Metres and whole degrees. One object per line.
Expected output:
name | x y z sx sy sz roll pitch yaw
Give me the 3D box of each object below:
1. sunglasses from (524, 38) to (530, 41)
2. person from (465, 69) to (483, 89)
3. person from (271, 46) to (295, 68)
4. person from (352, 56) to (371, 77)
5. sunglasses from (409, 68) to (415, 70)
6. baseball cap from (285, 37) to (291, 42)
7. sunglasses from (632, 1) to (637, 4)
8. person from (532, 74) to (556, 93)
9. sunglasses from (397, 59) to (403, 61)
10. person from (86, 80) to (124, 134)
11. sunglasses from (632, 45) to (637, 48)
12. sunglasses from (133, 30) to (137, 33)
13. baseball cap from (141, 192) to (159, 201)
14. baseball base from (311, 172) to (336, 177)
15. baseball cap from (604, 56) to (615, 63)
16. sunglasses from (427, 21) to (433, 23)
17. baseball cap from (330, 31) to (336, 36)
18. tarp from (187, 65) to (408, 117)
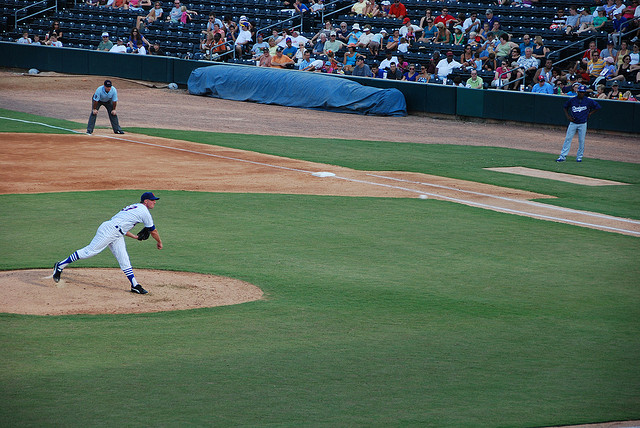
sunglasses | 7.325 -6.253 39.442 0.096 0.088 0.172 -4 9 -41
person | 5.527 -4.818 39.495 0.783 0.661 0.779 0 8 16
person | -1.439 -6.343 44.677 1.470 0.824 0.627 -3 14 3
person | 1.593 -5.675 42.284 0.764 0.768 0.418 6 9 24
sunglasses | 3.445 -5.452 41.330 0.186 0.050 0.103 0 7 -17
baseball cap | -1.253 -7.138 45.109 0.181 0.175 0.134 3 8 2
sunglasses | 11.182 -7.576 39.469 0.127 0.100 0.112 1 7 -8
person | 7.593 -4.509 37.925 0.706 0.602 0.658 6 8 26
sunglasses | 3.039 -5.884 41.929 0.154 0.026 0.149 -1 -4 44
person | -6.399 -3.227 33.168 0.936 1.589 1.221 3 8 -6
sunglasses | 10.575 -5.668 37.271 0.134 0.099 0.029 -2 32 39
sunglasses | -7.982 -8.001 48.183 0.140 0.065 0.111 2 11 2
baseball cap | -3.260 -0.349 21.418 0.333 0.107 0.163 -6 3 -5
baseball base | 0.129 -1.089 29.860 0.621 0.095 0.547 3 6 11
baseball cap | 9.835 -5.305 37.770 0.330 0.227 0.251 -3 9 -37
sunglasses | 4.321 -7.535 43.202 0.226 0.063 0.092 -3 9 -41
baseball cap | 0.529 -7.203 43.900 0.407 0.121 0.478 0 3 -2
tarp | -1.008 -4.840 42.825 8.948 1.820 0.635 5 8 28
